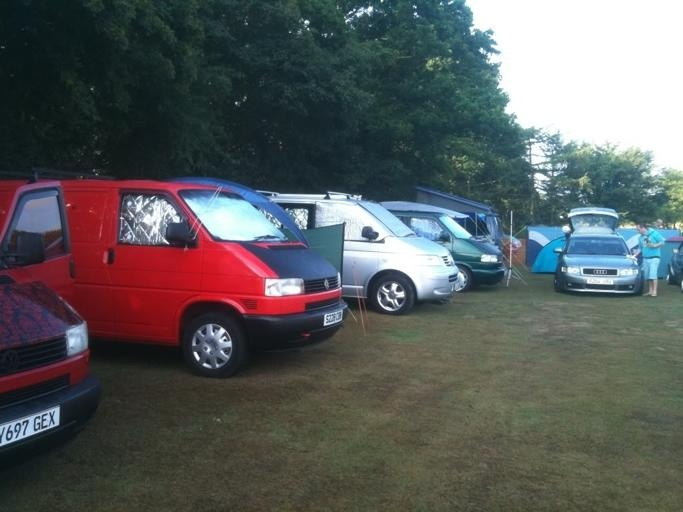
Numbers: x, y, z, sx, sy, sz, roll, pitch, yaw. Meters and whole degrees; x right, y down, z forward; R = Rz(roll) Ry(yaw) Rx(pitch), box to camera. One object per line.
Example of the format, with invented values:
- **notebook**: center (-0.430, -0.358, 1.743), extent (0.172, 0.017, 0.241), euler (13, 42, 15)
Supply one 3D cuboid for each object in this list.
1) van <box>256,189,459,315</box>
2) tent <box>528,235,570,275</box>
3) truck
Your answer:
- **van**: center (0.479, -0.092, 11.571), extent (3.950, 2.364, 2.328), euler (0, 2, 21)
- **tent**: center (9.188, 0.047, 22.140), extent (1.943, 1.563, 2.090), euler (1, 4, 7)
- **truck**: center (5.831, -1.975, 23.779), extent (2.952, 3.389, 3.975), euler (0, 4, 8)
